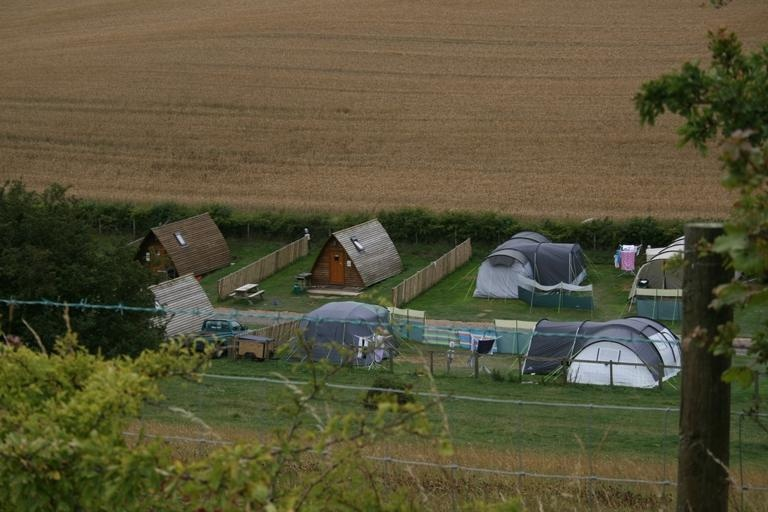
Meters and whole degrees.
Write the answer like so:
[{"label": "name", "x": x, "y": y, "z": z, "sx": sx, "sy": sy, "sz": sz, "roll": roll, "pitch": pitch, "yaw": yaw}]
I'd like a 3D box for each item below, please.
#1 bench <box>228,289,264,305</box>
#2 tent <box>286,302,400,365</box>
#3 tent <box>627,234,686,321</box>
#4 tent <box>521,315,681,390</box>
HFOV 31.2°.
[{"label": "bench", "x": -10.567, "y": 3.451, "z": 110.104, "sx": 1.335, "sy": 0.508, "sz": 1.863, "roll": 4, "pitch": 11, "yaw": 22}, {"label": "tent", "x": -2.755, "y": 5.575, "z": 101.414, "sx": 7.867, "sy": 4.253, "sz": 9.169, "roll": 1, "pitch": 0, "yaw": -11}, {"label": "tent", "x": 20.189, "y": 2.393, "z": 102.045, "sx": 4.697, "sy": 2.870, "sz": 7.826, "roll": 4, "pitch": 20, "yaw": 17}, {"label": "tent", "x": 15.375, "y": 6.641, "z": 95.517, "sx": 9.827, "sy": 4.688, "sz": 3.081, "roll": 1, "pitch": 1, "yaw": 13}]
